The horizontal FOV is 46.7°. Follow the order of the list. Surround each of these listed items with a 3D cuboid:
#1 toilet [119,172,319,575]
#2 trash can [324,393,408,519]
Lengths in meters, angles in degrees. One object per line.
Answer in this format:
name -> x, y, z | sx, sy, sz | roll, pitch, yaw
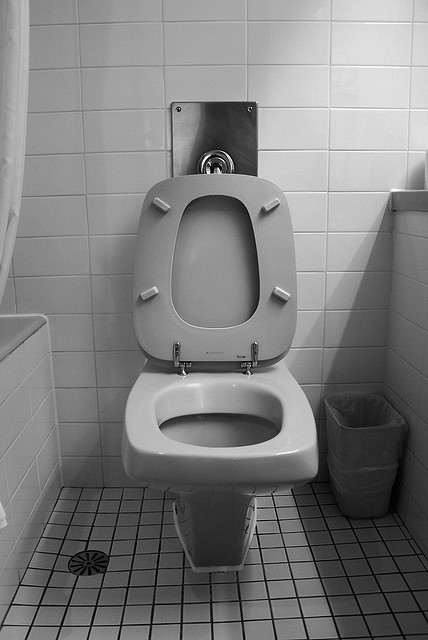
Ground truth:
toilet -> 0.008, 0.173, 1.092 | 0.380, 0.923, 0.523 | 1, 18, 1
trash can -> 0.417, 0.383, 1.396 | 0.198, 0.304, 0.247 | 0, 8, 6
